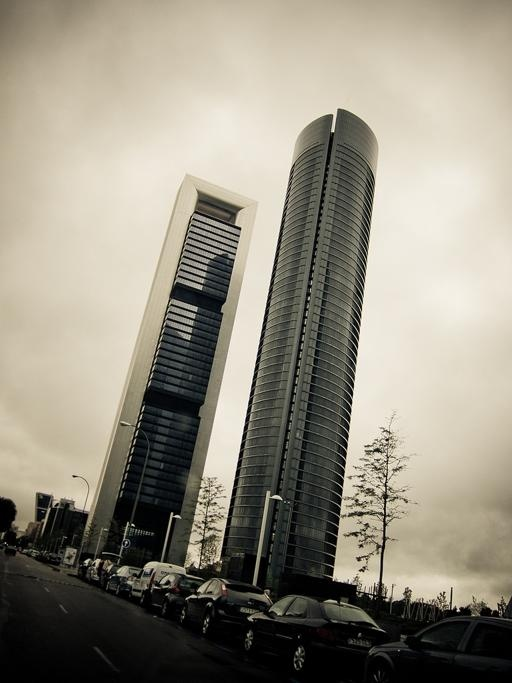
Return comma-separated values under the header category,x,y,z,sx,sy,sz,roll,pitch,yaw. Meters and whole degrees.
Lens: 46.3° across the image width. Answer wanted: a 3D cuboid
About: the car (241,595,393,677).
category,x,y,z,sx,sy,sz,roll,pitch,yaw
car,0.994,5.412,11.391,1.402,1.001,3.130,11,-23,-19
